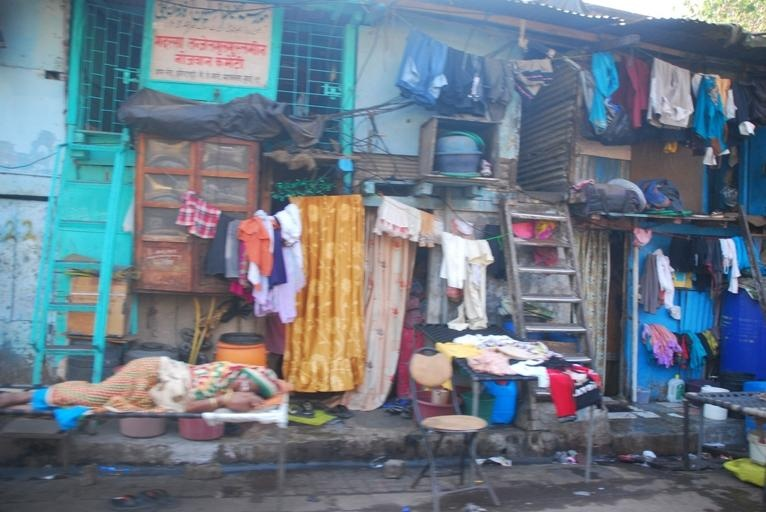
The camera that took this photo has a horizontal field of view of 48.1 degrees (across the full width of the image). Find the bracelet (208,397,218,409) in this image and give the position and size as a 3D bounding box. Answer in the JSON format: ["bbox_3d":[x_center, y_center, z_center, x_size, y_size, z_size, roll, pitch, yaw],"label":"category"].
[{"bbox_3d":[-2.061,1.774,10.357,0.103,0.123,0.040,2,-7,-14],"label":"bracelet"}]

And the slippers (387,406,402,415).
[{"bbox_3d":[0.183,2.255,12.507,0.234,0.082,0.151,0,-5,1],"label":"slippers"}]

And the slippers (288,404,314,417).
[{"bbox_3d":[-1.178,2.206,12.305,0.359,0.107,0.146,-4,-13,30],"label":"slippers"}]

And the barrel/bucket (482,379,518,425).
[{"bbox_3d":[1.720,2.112,12.456,0.556,0.514,0.403,-5,-10,-19],"label":"barrel/bucket"}]

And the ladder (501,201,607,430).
[{"bbox_3d":[2.589,0.541,12.751,2.262,2.725,1.112,0,3,1],"label":"ladder"}]

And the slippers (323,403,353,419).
[{"bbox_3d":[-0.647,2.236,12.400,0.341,0.173,0.346,3,-5,-25],"label":"slippers"}]

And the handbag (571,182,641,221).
[{"bbox_3d":[3.453,-0.875,13.126,0.993,0.248,0.602,0,3,-11],"label":"handbag"}]
